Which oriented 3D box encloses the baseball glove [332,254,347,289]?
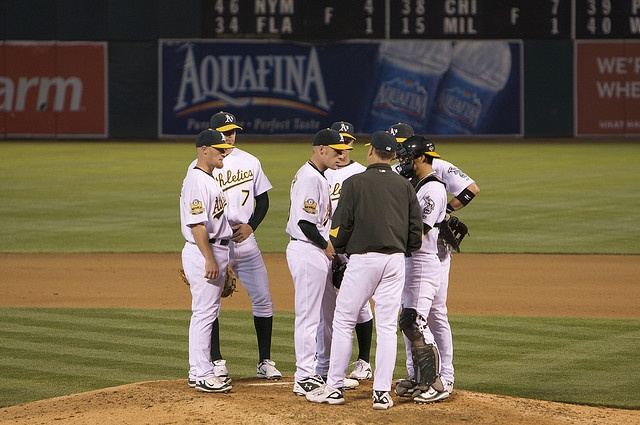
[{"bbox_3d":[0.435,1.280,28.145,0.270,0.725,0.335,10,-9,-9],"label":"baseball glove"}]

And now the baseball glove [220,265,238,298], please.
[{"bbox_3d":[-1.770,1.521,28.123,0.260,0.572,0.422,6,11,-14],"label":"baseball glove"}]

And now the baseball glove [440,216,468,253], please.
[{"bbox_3d":[2.764,0.493,28.224,0.614,0.721,0.368,19,-42,-37],"label":"baseball glove"}]
